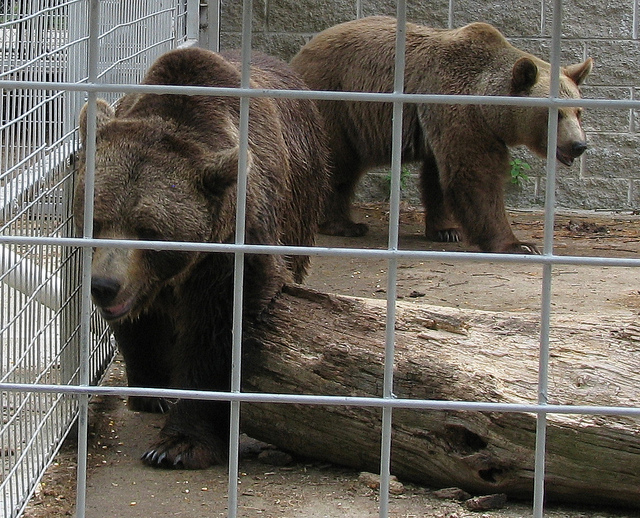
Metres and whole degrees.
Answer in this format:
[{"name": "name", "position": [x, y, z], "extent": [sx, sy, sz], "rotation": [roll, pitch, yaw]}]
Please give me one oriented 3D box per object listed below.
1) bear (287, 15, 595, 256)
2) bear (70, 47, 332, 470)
[{"name": "bear", "position": [0.875, -0.998, 8.024], "extent": [2.484, 1.837, 1.172], "rotation": [7, 12, 28]}, {"name": "bear", "position": [-0.567, -0.181, 5.375], "extent": [1.021, 2.017, 2.463], "rotation": [6, 19, 7]}]
